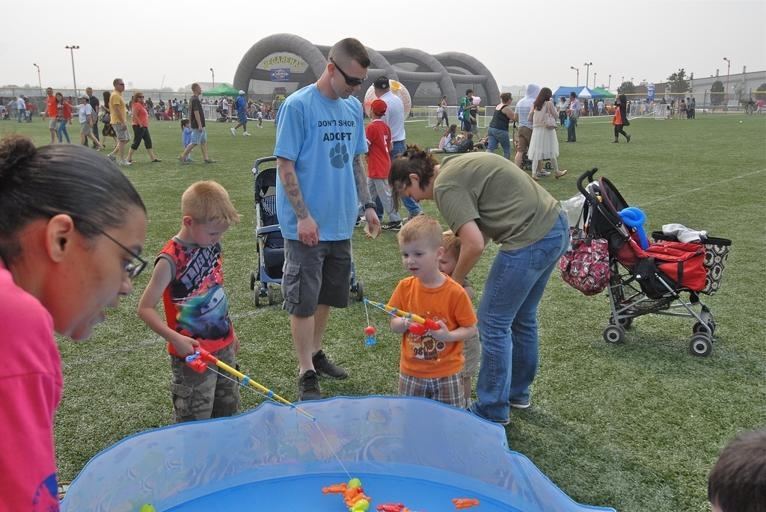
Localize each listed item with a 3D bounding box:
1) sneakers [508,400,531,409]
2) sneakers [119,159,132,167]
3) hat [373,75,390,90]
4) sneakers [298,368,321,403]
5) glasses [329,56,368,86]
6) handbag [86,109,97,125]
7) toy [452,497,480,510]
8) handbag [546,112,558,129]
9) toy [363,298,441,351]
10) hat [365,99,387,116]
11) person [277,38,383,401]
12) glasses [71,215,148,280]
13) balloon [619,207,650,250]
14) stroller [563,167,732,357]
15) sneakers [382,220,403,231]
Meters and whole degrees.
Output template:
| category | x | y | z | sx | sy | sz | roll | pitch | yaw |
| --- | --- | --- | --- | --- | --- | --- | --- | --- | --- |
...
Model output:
| category | x | y | z | sx | sy | sz | roll | pitch | yaw |
| --- | --- | --- | --- | --- | --- | --- | --- | --- | --- |
| sneakers | 0.961 | 1.046 | 4.352 | 0.141 | 0.074 | 0.055 | 3 | 10 | 8 |
| sneakers | -5.557 | -2.002 | 13.348 | 0.236 | 0.122 | 0.094 | 1 | 11 | 7 |
| hat | -0.015 | -2.415 | 8.595 | 0.177 | 0.125 | 0.283 | -2 | 17 | -3 |
| sneakers | -0.515 | 0.923 | 4.307 | 0.094 | 0.122 | 0.267 | -1 | 9 | -7 |
| glasses | -0.248 | -1.314 | 4.335 | 0.058 | 0.206 | 0.194 | -41 | -15 | 25 |
| handbag | -7.449 | -3.519 | 15.677 | 0.195 | 0.422 | 1.031 | -5 | 14 | -17 |
| toy | 0.461 | 1.374 | 3.444 | 0.102 | 0.035 | 0.065 | -3 | 10 | -3 |
| handbag | 3.106 | -2.514 | 11.465 | 0.216 | 0.304 | 0.101 | -23 | 27 | -28 |
| toy | 0.140 | 0.381 | 3.811 | 0.423 | 0.255 | 0.235 | 1 | 12 | 7 |
| hat | -0.081 | -1.997 | 8.218 | 0.176 | 0.282 | 0.159 | 1 | -33 | -16 |
| person | -0.446 | -0.302 | 4.531 | 0.539 | 2.454 | 0.994 | 7 | 14 | 35 |
| glasses | -0.948 | -0.031 | 2.205 | 0.063 | 0.215 | 0.204 | -47 | 10 | -19 |
| balloon | 2.080 | -0.277 | 5.036 | 0.100 | 0.363 | 0.264 | -23 | -1 | -7 |
| stroller | 2.136 | -0.013 | 5.158 | 1.259 | 1.430 | 0.730 | 3 | 12 | 17 |
| sneakers | 0.133 | -0.425 | 8.389 | 0.332 | 0.167 | 0.120 | 6 | 22 | 9 |
